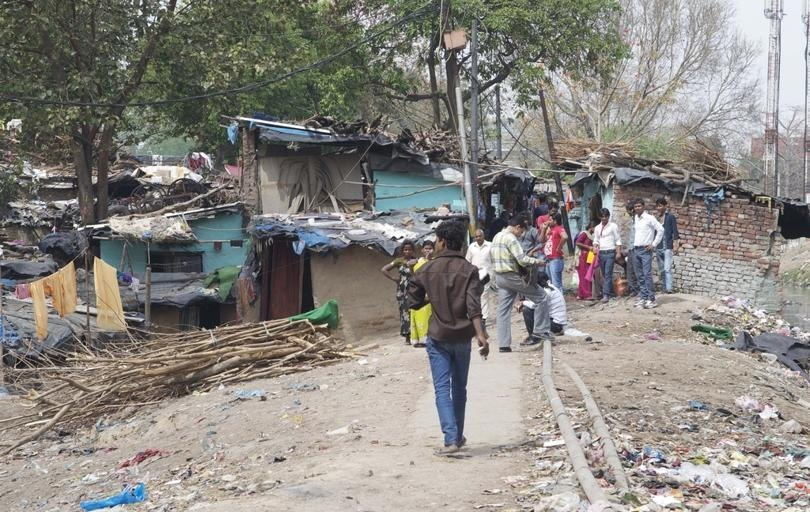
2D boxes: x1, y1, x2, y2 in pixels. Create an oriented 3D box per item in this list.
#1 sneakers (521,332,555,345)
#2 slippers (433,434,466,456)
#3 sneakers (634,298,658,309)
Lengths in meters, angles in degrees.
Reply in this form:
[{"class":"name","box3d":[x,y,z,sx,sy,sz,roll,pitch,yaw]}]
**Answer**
[{"class":"sneakers","box3d":[3.165,1.965,23.263,0.513,0.206,0.165,-20,1,20]},{"class":"slippers","box3d":[0.849,3.686,18.997,0.360,0.387,0.943,4,4,-1]},{"class":"sneakers","box3d":[6.517,1.296,26.604,0.666,0.277,0.236,5,3,-1]}]
